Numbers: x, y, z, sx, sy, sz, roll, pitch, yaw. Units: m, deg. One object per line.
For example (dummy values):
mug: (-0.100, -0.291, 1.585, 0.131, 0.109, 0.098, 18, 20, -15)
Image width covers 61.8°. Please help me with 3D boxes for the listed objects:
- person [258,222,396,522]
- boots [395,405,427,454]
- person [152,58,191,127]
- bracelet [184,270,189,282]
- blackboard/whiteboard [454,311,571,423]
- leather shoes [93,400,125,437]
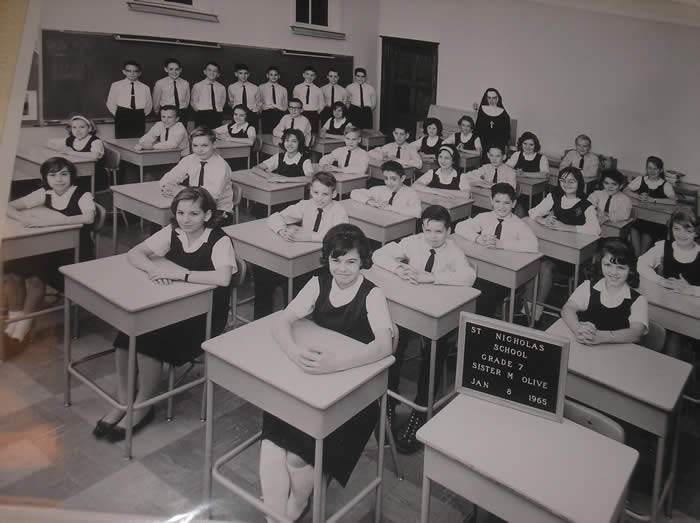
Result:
person: (-0.084, 0.493, 2.443, 0.490, 1.207, 0.685, 9, 19, 20)
boots: (0.300, 0.820, 2.904, 0.079, 0.140, 0.231, 18, 44, 22)
person: (-1.961, -1.606, 6.498, 0.401, 1.158, 0.273, -10, 28, -33)
bracelet: (-0.786, 0.077, 2.838, 0.014, 0.039, 0.026, 7, 2, 9)
blackboard/whiteboard: (0.580, 0.395, 2.107, 0.382, 0.336, 0.031, 16, 26, 25)
leather shoes: (-1.157, 0.781, 2.880, 0.084, 0.048, 0.183, 20, 59, 30)
